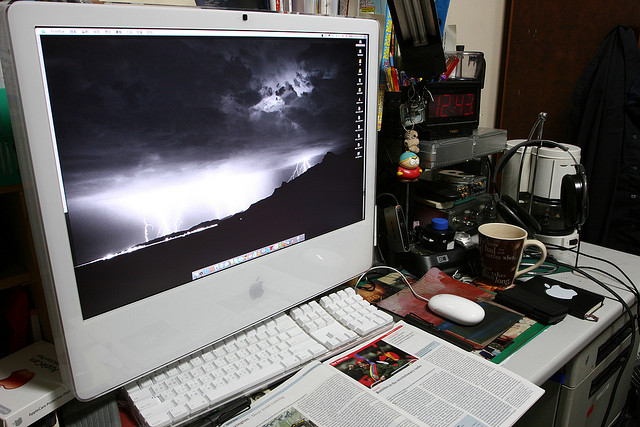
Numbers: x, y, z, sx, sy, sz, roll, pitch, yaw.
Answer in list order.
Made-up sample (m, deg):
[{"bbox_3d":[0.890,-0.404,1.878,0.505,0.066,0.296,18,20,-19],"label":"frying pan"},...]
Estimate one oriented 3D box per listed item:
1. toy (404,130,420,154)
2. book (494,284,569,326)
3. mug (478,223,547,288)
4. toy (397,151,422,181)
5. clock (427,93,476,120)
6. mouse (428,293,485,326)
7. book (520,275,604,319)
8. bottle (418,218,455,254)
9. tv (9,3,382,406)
[{"bbox_3d":[0.284,-0.215,1.393,0.055,0.088,0.083,-4,19,2],"label":"toy"},{"bbox_3d":[0.552,0.240,1.146,0.099,0.023,0.103,-9,30,-36],"label":"book"},{"bbox_3d":[0.552,0.115,1.347,0.235,0.171,0.156,5,17,23],"label":"mug"},{"bbox_3d":[0.273,-0.146,1.365,0.103,0.095,0.072,-9,20,-27],"label":"toy"},{"bbox_3d":[0.418,-0.337,1.401,0.289,0.123,0.013,-14,19,-37],"label":"clock"},{"bbox_3d":[0.349,0.225,1.104,0.109,0.033,0.068,19,31,37],"label":"mouse"},{"bbox_3d":[0.665,0.222,1.196,0.108,0.027,0.114,-13,28,-37],"label":"book"},{"bbox_3d":[0.369,0.059,1.367,0.101,0.080,0.101,0,19,0],"label":"bottle"},{"bbox_3d":[-0.264,-0.009,0.871,0.786,0.624,0.279,-13,21,-34],"label":"tv"}]
